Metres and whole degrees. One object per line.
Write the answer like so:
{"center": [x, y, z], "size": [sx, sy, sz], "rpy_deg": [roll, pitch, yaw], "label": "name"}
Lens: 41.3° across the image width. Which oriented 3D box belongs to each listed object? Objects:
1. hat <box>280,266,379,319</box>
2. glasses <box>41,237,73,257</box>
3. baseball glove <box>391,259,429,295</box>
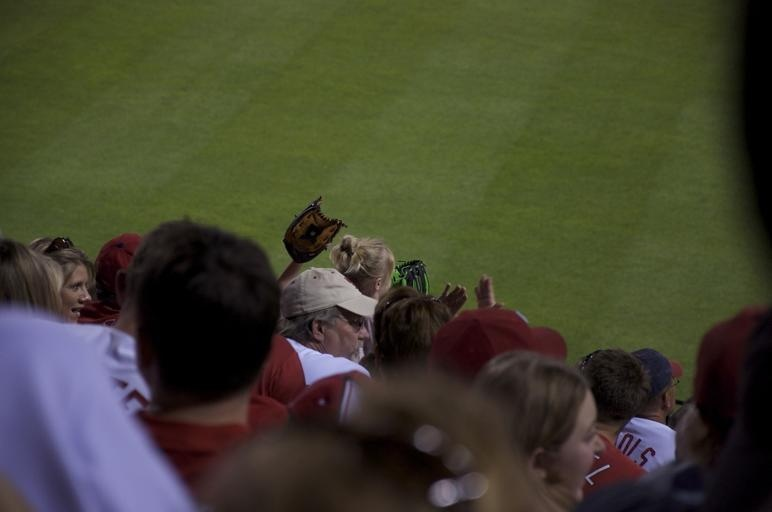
{"center": [-0.367, 0.232, 6.413], "size": [0.476, 0.250, 0.308], "rpy_deg": [3, 4, -4], "label": "hat"}
{"center": [-2.259, -0.077, 7.053], "size": [0.158, 0.047, 0.151], "rpy_deg": [-30, 6, 16], "label": "glasses"}
{"center": [0.210, 0.141, 7.855], "size": [0.206, 0.120, 0.287], "rpy_deg": [7, 74, 3], "label": "baseball glove"}
